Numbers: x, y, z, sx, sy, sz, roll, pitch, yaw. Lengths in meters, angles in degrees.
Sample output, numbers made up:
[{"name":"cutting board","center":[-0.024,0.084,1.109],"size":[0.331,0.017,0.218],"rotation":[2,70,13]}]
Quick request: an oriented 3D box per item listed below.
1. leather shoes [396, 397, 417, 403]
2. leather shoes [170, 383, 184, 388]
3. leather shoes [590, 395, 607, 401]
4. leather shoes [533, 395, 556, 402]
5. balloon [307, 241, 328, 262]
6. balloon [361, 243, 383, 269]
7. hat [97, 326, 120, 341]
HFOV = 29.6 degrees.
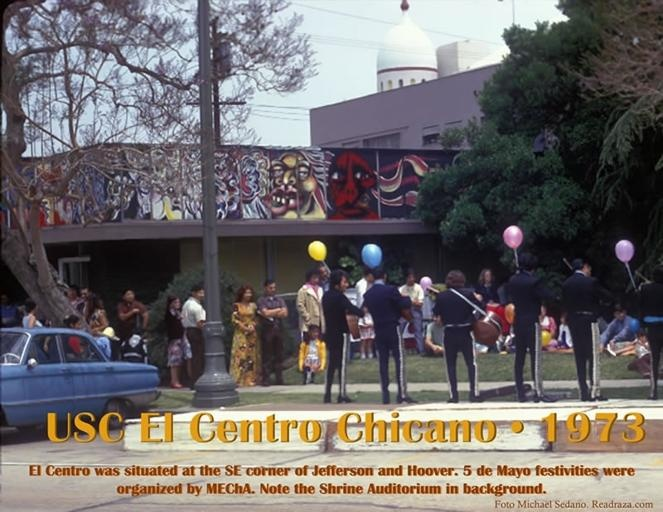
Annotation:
[{"name":"leather shoes","center":[1.265,2.474,21.629],"size":[0.347,0.148,0.120],"rotation":[1,-4,-7]},{"name":"leather shoes","center":[-3.145,2.618,25.519],"size":[0.249,0.107,0.332],"rotation":[-3,1,-8]},{"name":"leather shoes","center":[4.445,2.377,21.007],"size":[0.338,0.063,0.183],"rotation":[-3,1,-13]},{"name":"leather shoes","center":[3.524,2.397,21.083],"size":[0.378,0.166,0.140],"rotation":[1,-4,-5]},{"name":"balloon","center":[-0.435,-0.108,32.211],"size":[0.400,0.520,0.422],"rotation":[-32,0,-3]},{"name":"balloon","center":[0.842,0.032,28.705],"size":[0.510,0.691,0.558],"rotation":[-1,10,25]},{"name":"hat","center":[-4.431,1.542,24.871],"size":[0.401,0.200,0.477],"rotation":[22,-5,5]}]
